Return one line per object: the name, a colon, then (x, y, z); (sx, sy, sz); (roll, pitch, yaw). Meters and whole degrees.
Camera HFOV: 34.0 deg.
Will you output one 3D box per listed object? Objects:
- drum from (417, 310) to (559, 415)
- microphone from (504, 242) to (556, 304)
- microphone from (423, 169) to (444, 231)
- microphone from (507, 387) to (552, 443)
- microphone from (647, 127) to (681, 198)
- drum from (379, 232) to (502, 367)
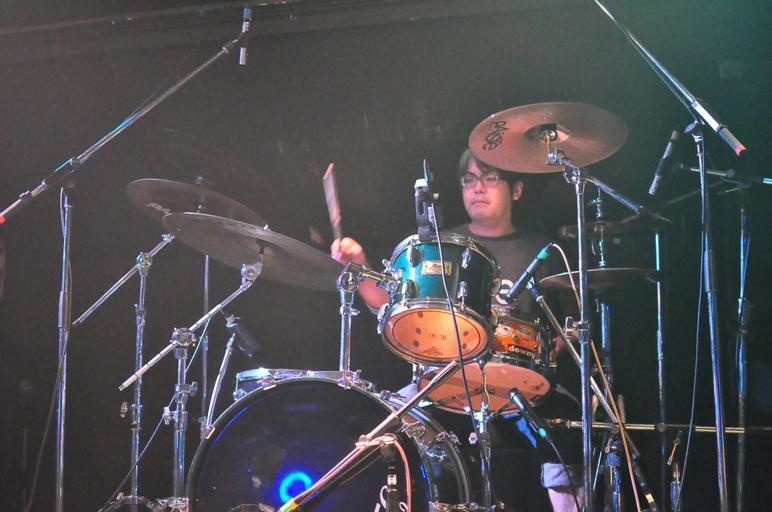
drum: (0.809, 0.790, 9.065); (0.866, 0.315, 0.844); (-7, -32, -4)
microphone: (1.083, 0.137, 9.542); (0.127, 0.128, 0.569); (41, -69, -17)
microphone: (0.310, -0.400, 8.715); (0.128, 0.463, 0.098); (1, 16, 37)
microphone: (0.995, 1.124, 8.866); (0.141, 0.603, 0.106); (31, -74, -20)
microphone: (2.207, -0.734, 9.981); (0.122, 0.572, 0.125); (14, 9, -14)
drum: (0.358, 0.210, 9.047); (0.942, 0.656, 0.882); (7, -53, 10)
